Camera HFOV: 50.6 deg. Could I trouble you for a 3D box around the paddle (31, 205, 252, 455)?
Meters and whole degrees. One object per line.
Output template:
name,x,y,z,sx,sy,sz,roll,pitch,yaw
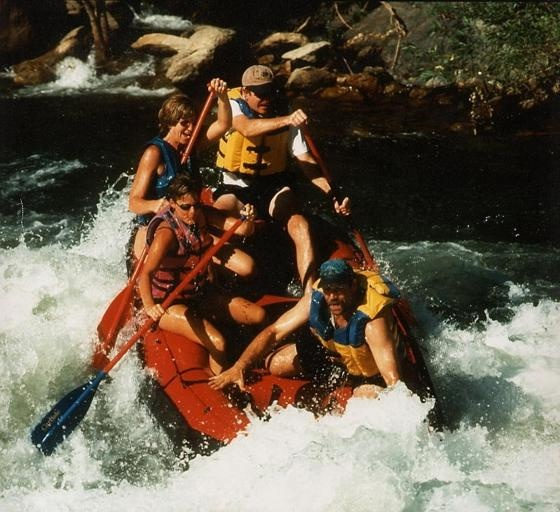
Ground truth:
paddle,-1.157,0.702,5.038,3.079,0.207,0.351,-40,60,-1

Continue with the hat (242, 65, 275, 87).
hat,-0.208,-1.584,5.229,0.281,0.176,0.182,-9,28,2

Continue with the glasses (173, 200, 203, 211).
glasses,-0.699,-0.385,4.525,0.190,0.098,0.083,-14,29,-8

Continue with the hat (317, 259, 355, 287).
hat,0.384,0.119,4.151,0.238,0.178,0.169,9,-10,-36
